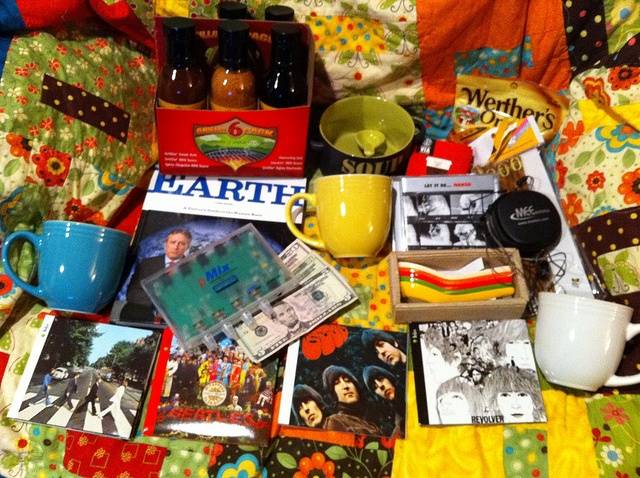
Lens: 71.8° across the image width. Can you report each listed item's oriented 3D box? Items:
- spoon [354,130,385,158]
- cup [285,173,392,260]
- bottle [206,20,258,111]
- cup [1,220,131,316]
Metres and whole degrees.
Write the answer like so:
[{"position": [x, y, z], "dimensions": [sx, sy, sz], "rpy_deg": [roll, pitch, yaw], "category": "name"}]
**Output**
[{"position": [0.101, -0.196, 0.882], "dimensions": [0.044, 0.016, 0.069], "rpy_deg": [3, 48, 9], "category": "spoon"}, {"position": [0.055, -0.041, 0.849], "dimensions": [0.191, 0.144, 0.140], "rpy_deg": [0, 87, -1], "category": "cup"}, {"position": [-0.163, -0.297, 0.783], "dimensions": [0.086, 0.128, 0.129], "rpy_deg": [3, 72, 3], "category": "bottle"}, {"position": [-0.436, 0.049, 0.766], "dimensions": [0.168, 0.119, 0.142], "rpy_deg": [6, 73, 3], "category": "cup"}]
